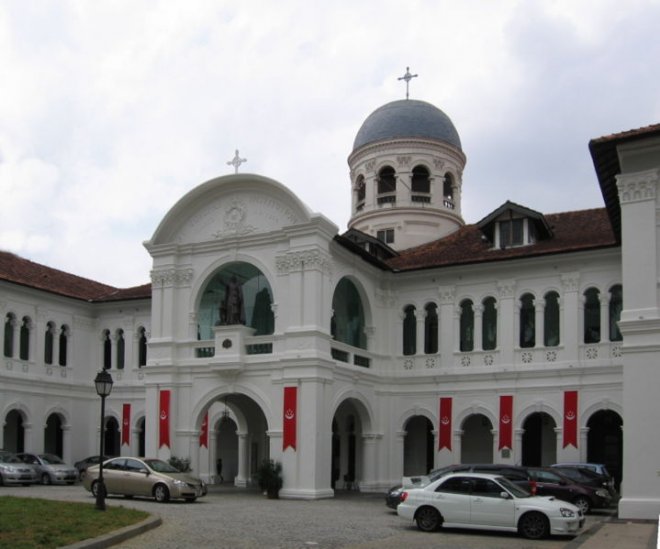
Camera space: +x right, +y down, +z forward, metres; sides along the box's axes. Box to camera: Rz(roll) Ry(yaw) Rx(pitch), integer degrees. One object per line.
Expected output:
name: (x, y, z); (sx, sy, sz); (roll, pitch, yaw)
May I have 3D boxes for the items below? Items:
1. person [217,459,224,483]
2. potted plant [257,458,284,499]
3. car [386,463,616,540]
person: (-5.537, 9.780, 49.405); (0.303, 1.197, 0.729); (1, -13, -7)
potted plant: (-2.296, 7.841, 37.837); (0.794, 1.528, 0.881); (-5, -14, 19)
car: (4.696, 6.591, 28.967); (4.940, 1.669, 2.147); (-5, -11, 20)
